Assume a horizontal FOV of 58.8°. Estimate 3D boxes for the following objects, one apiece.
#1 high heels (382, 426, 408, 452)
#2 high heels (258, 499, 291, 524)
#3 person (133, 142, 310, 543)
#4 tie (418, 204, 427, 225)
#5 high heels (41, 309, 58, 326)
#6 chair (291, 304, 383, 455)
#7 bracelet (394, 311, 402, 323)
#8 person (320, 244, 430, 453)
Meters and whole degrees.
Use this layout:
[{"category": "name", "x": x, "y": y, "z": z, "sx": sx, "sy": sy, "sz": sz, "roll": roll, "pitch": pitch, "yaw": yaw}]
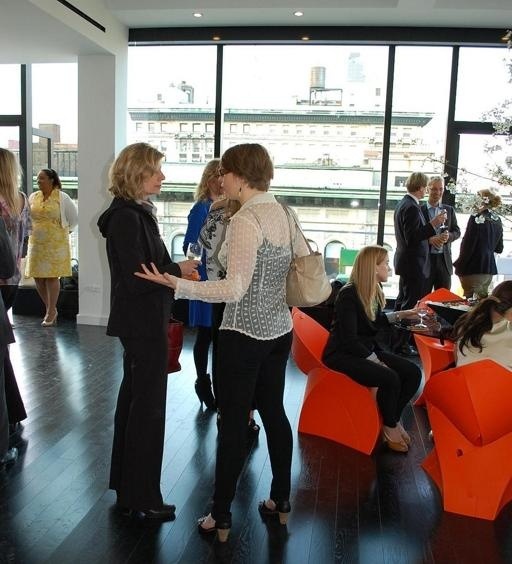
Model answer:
[{"category": "high heels", "x": 0.808, "y": 0.906, "z": 2.655, "sx": 0.076, "sy": 0.082, "sz": 0.199, "roll": -1, "pitch": 10, "yaw": -9}, {"category": "high heels", "x": 0.075, "y": 0.918, "z": 1.869, "sx": 0.069, "sy": 0.077, "sz": 0.148, "roll": -5, "pitch": 5, "yaw": -25}, {"category": "person", "x": -0.054, "y": 0.257, "z": 1.644, "sx": 0.359, "sy": 1.452, "sz": 0.546, "roll": 5, "pitch": 6, "yaw": 34}, {"category": "tie", "x": 1.817, "y": -0.738, "z": 4.906, "sx": 0.076, "sy": 0.193, "sz": 0.140, "roll": -1, "pitch": -6, "yaw": -1}, {"category": "high heels", "x": -2.452, "y": 0.454, "z": 5.445, "sx": 0.119, "sy": 0.181, "sz": 0.234, "roll": 1, "pitch": 1, "yaw": 12}, {"category": "chair", "x": 0.507, "y": 0.564, "z": 2.791, "sx": 0.563, "sy": 0.745, "sz": 0.436, "roll": 1, "pitch": 4, "yaw": 27}, {"category": "bracelet", "x": 0.900, "y": 0.226, "z": 2.869, "sx": 0.022, "sy": 0.066, "sz": 0.047, "roll": 13, "pitch": -13, "yaw": -12}, {"category": "person", "x": 0.718, "y": 0.376, "z": 2.660, "sx": 0.616, "sy": 1.161, "sz": 0.416, "roll": -1, "pitch": 6, "yaw": -34}]
